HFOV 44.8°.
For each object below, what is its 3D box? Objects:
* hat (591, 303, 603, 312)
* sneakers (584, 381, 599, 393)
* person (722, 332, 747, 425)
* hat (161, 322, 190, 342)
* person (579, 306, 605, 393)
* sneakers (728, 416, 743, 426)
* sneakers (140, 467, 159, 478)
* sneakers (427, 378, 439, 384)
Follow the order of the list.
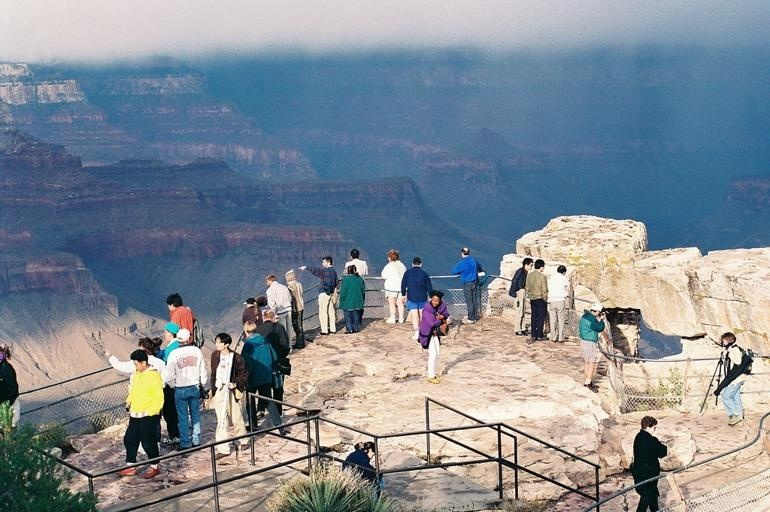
[{"bbox_3d":[5.227,1.240,22.831,0.264,0.208,0.389,0,13,15],"label":"hat"},{"bbox_3d":[5.335,3.259,23.662,0.409,0.145,0.262,18,25,25],"label":"sneakers"},{"bbox_3d":[8.562,2.966,22.704,0.678,2.285,0.667,0,14,20],"label":"person"},{"bbox_3d":[-4.576,1.691,20.638,0.662,0.324,0.400,11,24,10],"label":"hat"},{"bbox_3d":[5.315,2.177,23.573,0.614,2.368,1.394,-1,13,13],"label":"person"},{"bbox_3d":[8.642,4.011,22.875,0.395,0.194,0.161,-25,30,52],"label":"sneakers"},{"bbox_3d":[-4.916,4.511,19.709,0.311,0.178,0.256,-4,13,-2],"label":"sneakers"},{"bbox_3d":[1.270,3.108,23.406,0.240,0.101,0.132,-1,6,34],"label":"sneakers"}]
